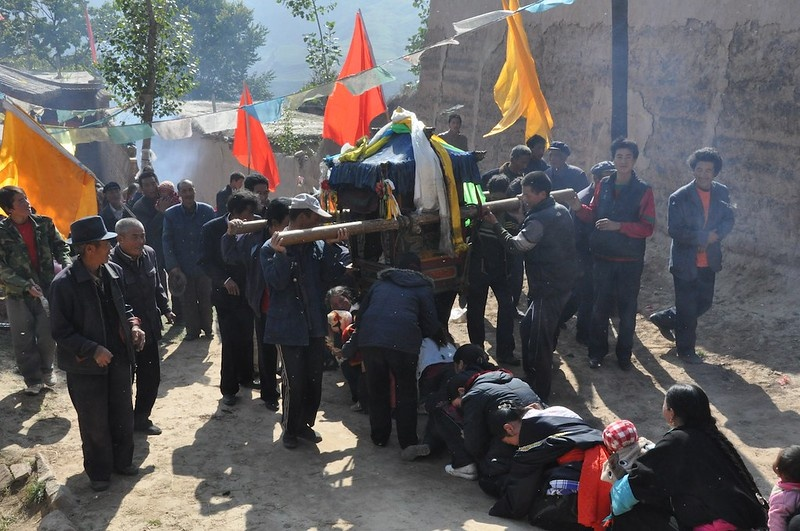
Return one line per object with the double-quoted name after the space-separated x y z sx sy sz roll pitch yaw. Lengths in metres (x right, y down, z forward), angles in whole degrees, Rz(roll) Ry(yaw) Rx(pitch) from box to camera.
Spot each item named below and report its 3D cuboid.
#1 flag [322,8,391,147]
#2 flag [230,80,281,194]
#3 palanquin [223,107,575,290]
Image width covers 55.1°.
-0.666 -3.465 13.489 0.853 2.042 0.164 -1 -5 -14 "flag"
-2.859 -2.293 14.824 0.795 2.306 0.386 -10 34 -17 "flag"
0.275 -1.036 11.162 5.291 2.424 3.643 -5 13 -3 "palanquin"
